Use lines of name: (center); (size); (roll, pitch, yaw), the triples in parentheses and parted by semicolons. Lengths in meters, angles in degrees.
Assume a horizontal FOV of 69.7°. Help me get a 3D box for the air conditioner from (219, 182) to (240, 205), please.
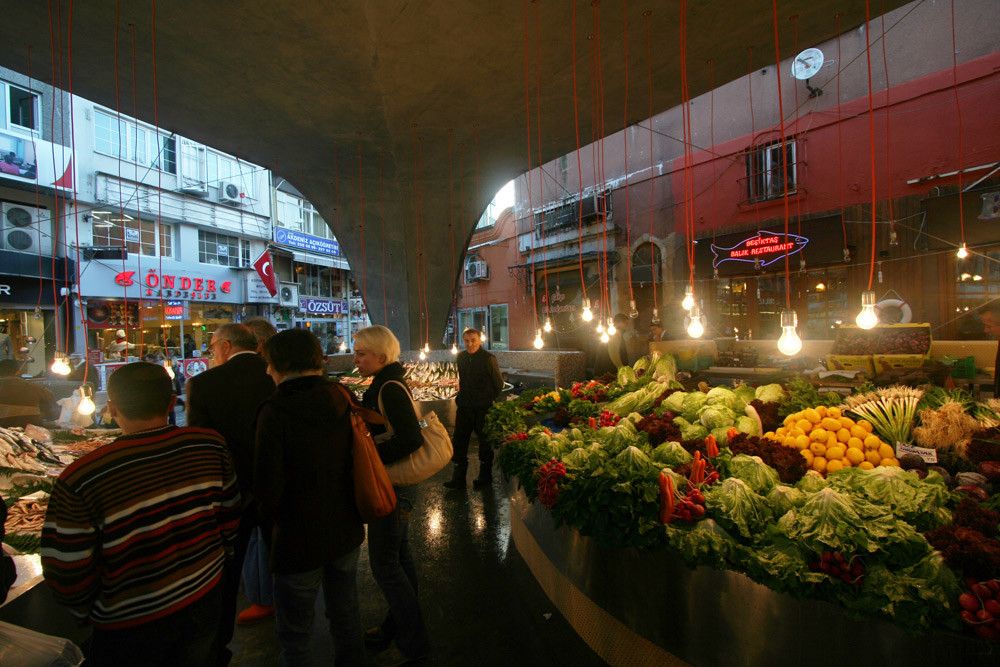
air conditioner: (-9.291, -4.895, 24.946); (0.418, 0.749, 0.837); (-4, 0, 2)

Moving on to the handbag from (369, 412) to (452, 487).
handbag: (-0.982, 1.323, 8.287); (0.640, 0.891, 0.723); (5, 0, -16)

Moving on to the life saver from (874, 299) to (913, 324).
life saver: (7.302, -0.444, 13.404); (0.612, 0.512, 2.971); (-4, 0, 29)

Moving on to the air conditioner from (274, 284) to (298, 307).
air conditioner: (-8.520, -1.449, 28.409); (0.661, 1.089, 1.254); (-2, -3, 18)

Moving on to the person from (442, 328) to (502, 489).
person: (-0.411, 1.153, 11.047); (0.900, 2.467, 1.172); (-4, 0, -11)

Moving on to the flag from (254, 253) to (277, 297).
flag: (-8.314, -2.224, 25.565); (0.558, 1.571, 2.256); (-3, 0, -17)
